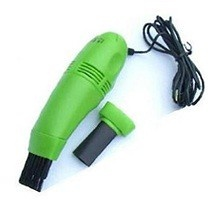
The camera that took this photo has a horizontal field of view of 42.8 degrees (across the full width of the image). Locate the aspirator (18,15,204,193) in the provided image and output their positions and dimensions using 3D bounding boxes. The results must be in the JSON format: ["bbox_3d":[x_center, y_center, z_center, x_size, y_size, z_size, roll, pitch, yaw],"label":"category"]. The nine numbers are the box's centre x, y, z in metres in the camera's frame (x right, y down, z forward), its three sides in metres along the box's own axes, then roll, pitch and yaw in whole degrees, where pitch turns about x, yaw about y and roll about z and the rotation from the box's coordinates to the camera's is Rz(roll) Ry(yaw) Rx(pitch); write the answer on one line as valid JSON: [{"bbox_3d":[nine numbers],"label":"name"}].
[{"bbox_3d":[0.010,-0.064,0.712,0.288,0.118,0.530,30,-96,8],"label":"aspirator"}]
